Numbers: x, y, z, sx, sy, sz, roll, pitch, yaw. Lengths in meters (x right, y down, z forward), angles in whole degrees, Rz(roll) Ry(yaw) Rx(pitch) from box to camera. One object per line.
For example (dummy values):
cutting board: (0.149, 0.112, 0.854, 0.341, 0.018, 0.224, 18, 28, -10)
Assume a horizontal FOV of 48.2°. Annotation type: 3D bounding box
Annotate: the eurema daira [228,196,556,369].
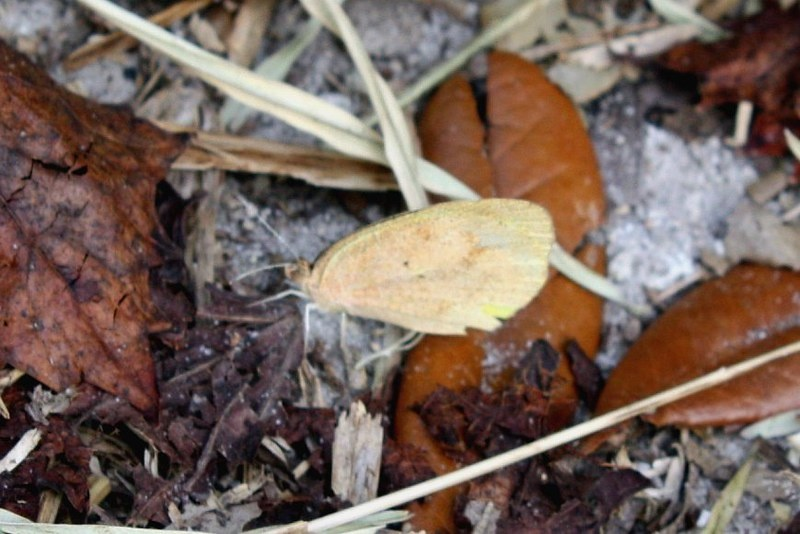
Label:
eurema daira: (0.018, -0.026, 1.297, 0.363, 0.258, 0.193, 3, 37, 1)
